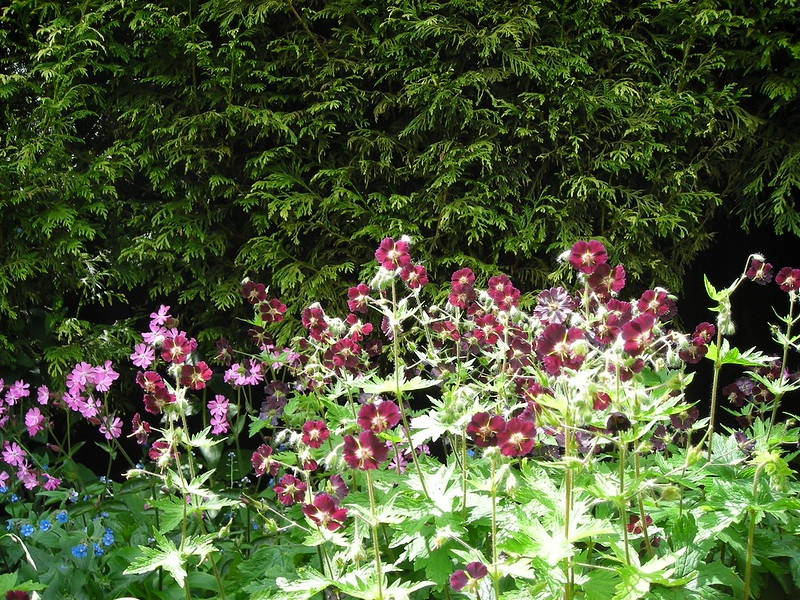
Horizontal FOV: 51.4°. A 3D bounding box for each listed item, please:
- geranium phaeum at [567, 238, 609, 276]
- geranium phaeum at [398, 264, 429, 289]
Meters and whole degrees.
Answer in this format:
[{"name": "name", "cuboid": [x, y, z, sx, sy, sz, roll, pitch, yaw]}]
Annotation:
[{"name": "geranium phaeum", "cuboid": [0.834, -0.192, 3.721, 0.141, 0.165, 0.064, 9, 0, -10]}, {"name": "geranium phaeum", "cuboid": [0.070, -0.110, 4.106, 0.112, 0.129, 0.041, 4, -6, -21]}]
